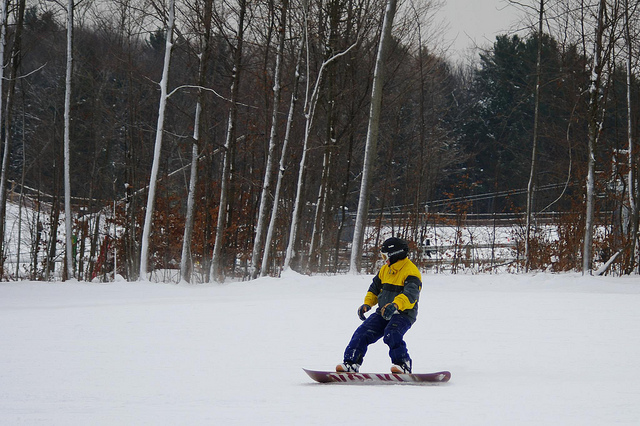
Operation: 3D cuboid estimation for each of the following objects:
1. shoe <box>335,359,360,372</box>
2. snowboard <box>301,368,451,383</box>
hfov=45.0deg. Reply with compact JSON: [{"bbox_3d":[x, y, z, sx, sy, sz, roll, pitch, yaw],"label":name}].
[{"bbox_3d":[0.649,3.705,18.708,0.557,0.291,0.239,6,-7,-5],"label":"shoe"},{"bbox_3d":[1.342,3.945,18.532,3.399,0.300,0.189,1,-6,-2],"label":"snowboard"}]
